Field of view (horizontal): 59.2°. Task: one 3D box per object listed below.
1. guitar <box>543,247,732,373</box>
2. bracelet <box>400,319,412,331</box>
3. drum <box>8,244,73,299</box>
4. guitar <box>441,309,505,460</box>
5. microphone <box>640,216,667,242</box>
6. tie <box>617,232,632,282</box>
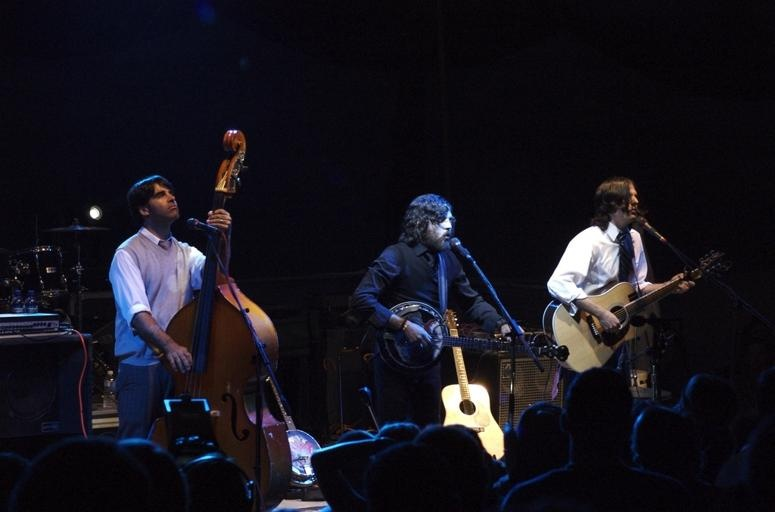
[{"bbox_3d":[2.115,0.572,6.113,1.375,0.891,0.326,-3,-13,10],"label":"guitar"},{"bbox_3d":[0.155,0.548,5.443,0.057,0.088,0.029,36,-14,3],"label":"bracelet"},{"bbox_3d":[-3.568,0.137,7.024,0.519,0.581,0.520,-6,16,-39],"label":"drum"},{"bbox_3d":[0.757,1.229,6.276,0.543,1.467,0.207,-4,-24,-14],"label":"guitar"},{"bbox_3d":[2.750,-0.285,6.969,0.101,0.124,0.494,0,26,-15],"label":"microphone"},{"bbox_3d":[2.211,0.005,6.320,0.147,0.449,0.058,0,5,1],"label":"tie"}]
